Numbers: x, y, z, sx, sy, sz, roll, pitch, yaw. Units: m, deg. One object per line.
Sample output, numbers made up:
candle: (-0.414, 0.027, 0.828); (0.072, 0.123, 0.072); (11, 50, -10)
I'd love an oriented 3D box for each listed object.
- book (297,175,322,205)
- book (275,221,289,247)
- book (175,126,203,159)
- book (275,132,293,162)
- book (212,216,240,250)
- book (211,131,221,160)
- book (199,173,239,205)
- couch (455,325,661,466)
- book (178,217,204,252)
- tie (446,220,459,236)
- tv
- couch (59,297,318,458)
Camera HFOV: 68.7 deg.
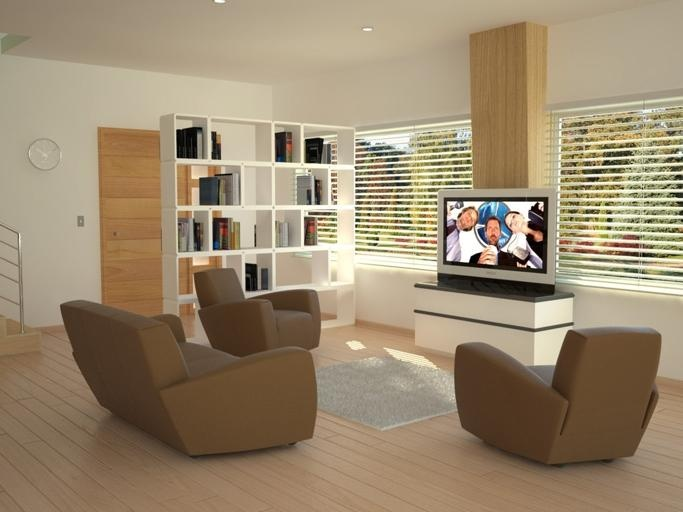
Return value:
book: (-0.446, -0.906, 6.815); (0.349, 0.407, 0.247); (0, 6, -6)
book: (-0.772, -0.294, 6.645); (0.095, 0.342, 0.283); (3, 6, 28)
book: (-1.785, -1.340, 5.880); (0.313, 0.395, 0.187); (-1, 6, -17)
book: (-0.762, -1.458, 6.622); (0.232, 0.399, 0.124); (-1, 6, -9)
book: (-1.426, -0.279, 6.181); (0.315, 0.387, 0.131); (-1, 6, -15)
book: (-1.553, -1.371, 6.149); (0.101, 0.369, 0.248); (-1, 6, -15)
book: (-1.561, -0.822, 6.113); (0.554, 0.398, 0.278); (2, 6, 16)
couch: (1.475, 0.916, 3.493); (1.106, 0.844, 1.043); (5, -3, -19)
book: (-1.870, -0.254, 6.098); (0.346, 0.434, 0.451); (-1, 2, -34)
tie: (1.297, -0.338, 5.839); (0.093, 0.154, 0.161); (-4, 12, -33)
tv: (1.730, -0.155, 5.423); (1.214, 0.918, 0.121); (3, 5, 43)
couch: (-0.972, 0.368, 3.391); (1.069, 0.842, 1.897); (-5, 6, -34)
